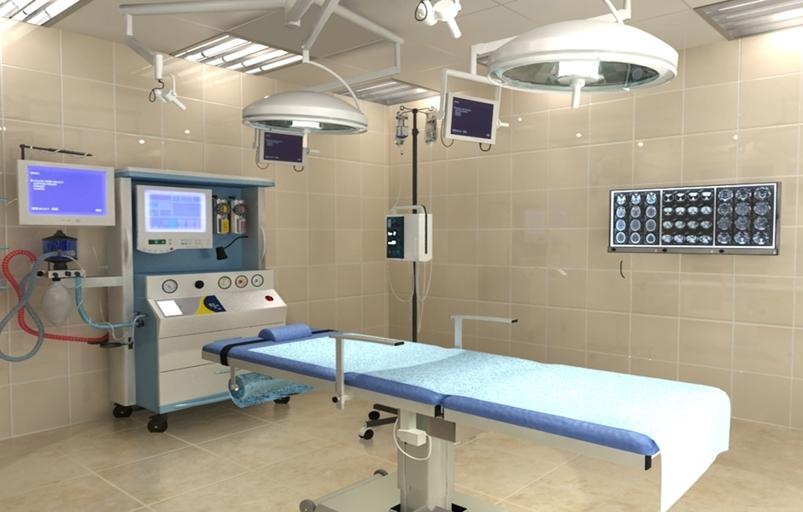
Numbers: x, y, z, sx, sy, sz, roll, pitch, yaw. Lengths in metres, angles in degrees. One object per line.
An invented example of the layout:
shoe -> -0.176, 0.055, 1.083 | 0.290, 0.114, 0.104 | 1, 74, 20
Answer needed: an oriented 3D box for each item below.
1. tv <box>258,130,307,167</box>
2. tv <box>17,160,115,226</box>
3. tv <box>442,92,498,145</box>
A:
tv -> -1.189, -1.086, 5.592 | 0.559, 0.337, 0.311 | 0, 0, -39
tv -> -3.106, -0.567, 5.126 | 0.696, 0.455, 0.087 | -1, 0, -32
tv -> 0.638, -1.259, 5.090 | 0.556, 0.425, 0.086 | -6, 13, -29
